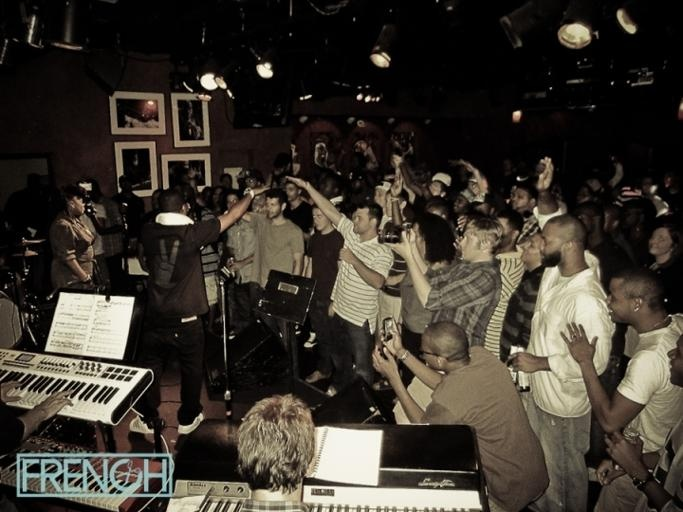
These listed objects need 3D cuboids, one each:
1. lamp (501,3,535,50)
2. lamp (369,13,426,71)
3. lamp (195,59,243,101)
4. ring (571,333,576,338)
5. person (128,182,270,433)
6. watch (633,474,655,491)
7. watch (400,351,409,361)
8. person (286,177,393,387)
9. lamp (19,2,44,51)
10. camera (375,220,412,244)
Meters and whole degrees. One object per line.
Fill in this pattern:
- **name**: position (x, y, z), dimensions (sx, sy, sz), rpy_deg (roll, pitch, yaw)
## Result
- **lamp**: position (1.724, -2.267, 5.349), dimensions (0.301, 0.399, 0.199), rpy_deg (5, 5, 16)
- **lamp**: position (0.947, -3.590, 9.051), dimensions (0.524, 0.552, 2.224), rpy_deg (10, 41, 16)
- **lamp**: position (-1.574, -2.235, 6.947), dimensions (0.445, 0.478, 0.190), rpy_deg (-23, 5, -28)
- **ring**: position (1.591, 0.547, 3.740), dimensions (0.024, 0.025, 0.011), rpy_deg (0, 42, 21)
- **person**: position (-1.389, 0.528, 4.925), dimensions (0.824, 2.203, 0.321), rpy_deg (2, 5, -20)
- **watch**: position (1.893, 1.427, 3.425), dimensions (0.105, 0.040, 0.109), rpy_deg (-20, -15, -43)
- **watch**: position (0.452, 0.717, 3.919), dimensions (0.056, 0.017, 0.057), rpy_deg (-42, -7, -6)
- **person**: position (0.065, 0.375, 5.372), dimensions (0.791, 2.074, 0.701), rpy_deg (5, 5, 16)
- **lamp**: position (-2.902, -2.162, 5.134), dimensions (0.178, 0.367, 0.235), rpy_deg (7, 6, 38)
- **camera**: position (0.431, -0.190, 4.441), dimensions (0.215, 0.136, 0.217), rpy_deg (2, 17, 2)
